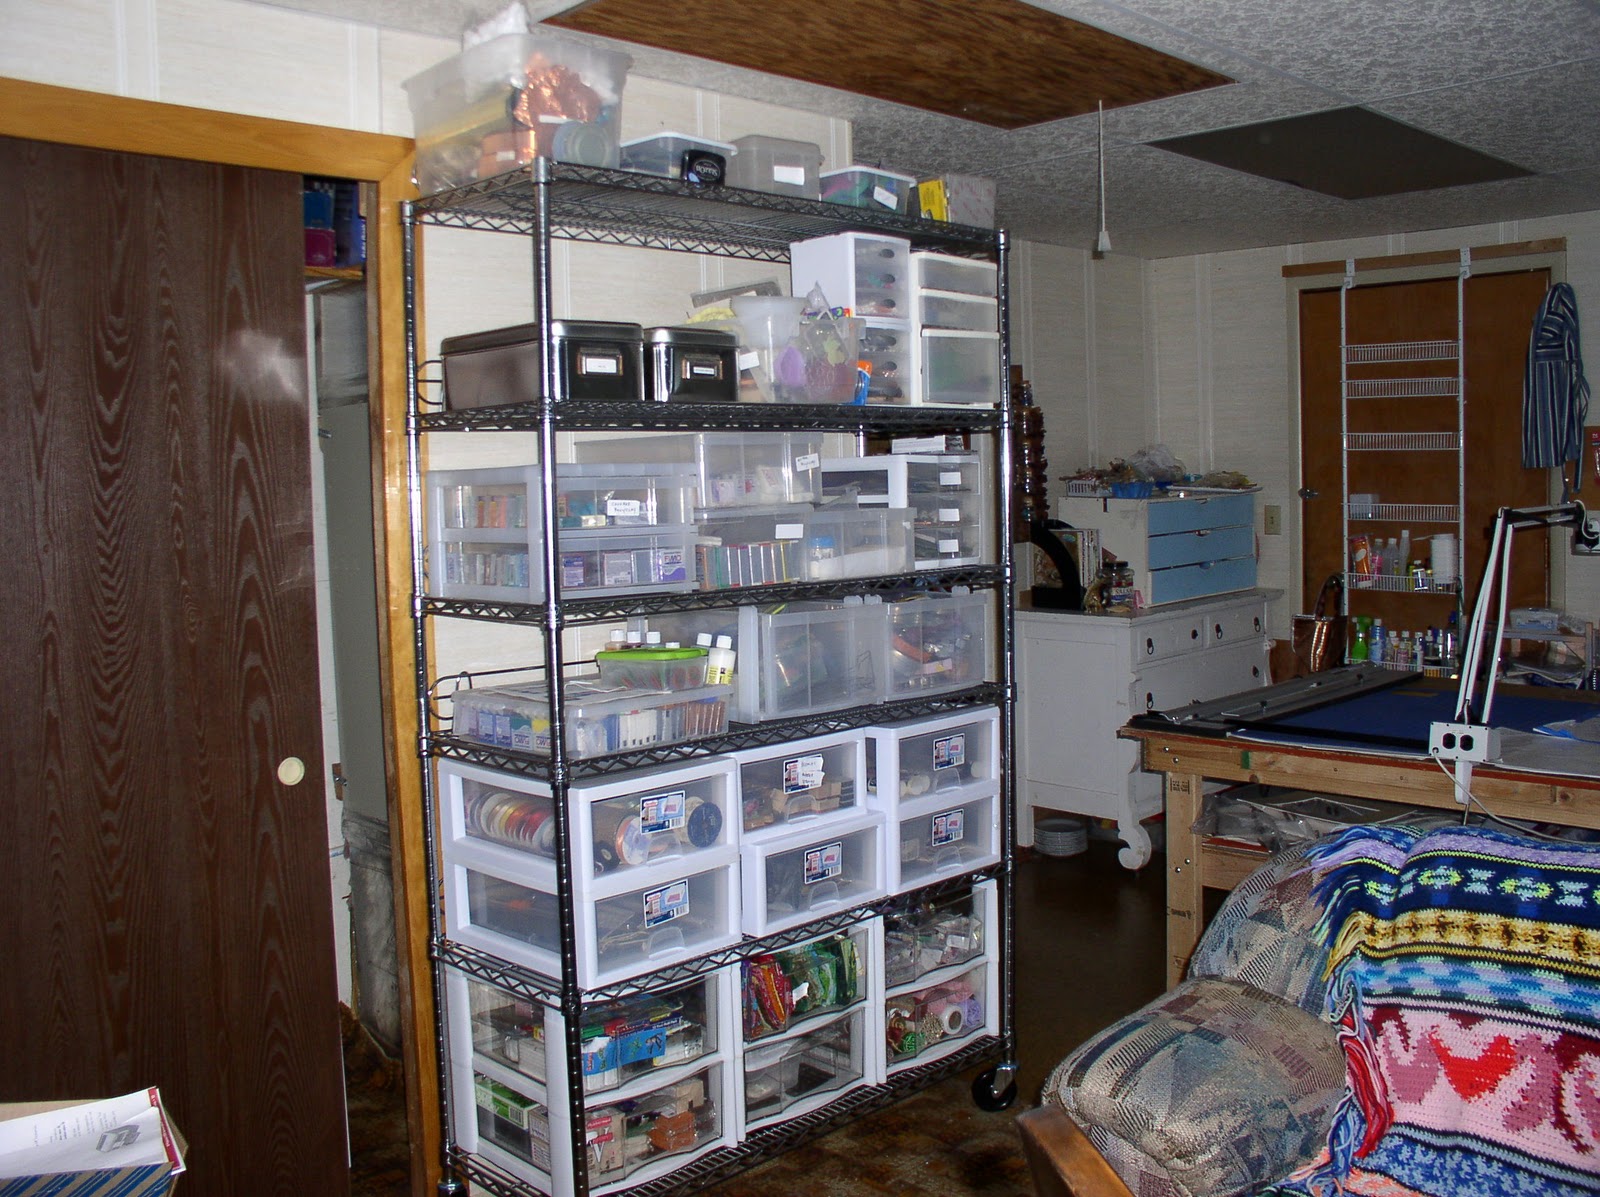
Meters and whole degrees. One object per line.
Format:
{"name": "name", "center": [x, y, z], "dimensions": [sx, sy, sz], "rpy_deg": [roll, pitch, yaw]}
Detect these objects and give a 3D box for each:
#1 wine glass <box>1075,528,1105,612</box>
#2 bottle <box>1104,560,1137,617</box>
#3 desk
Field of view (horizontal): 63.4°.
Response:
{"name": "wine glass", "center": [1.282, -0.134, 5.812], "dimensions": [0.134, 0.349, 0.241], "rpy_deg": [-2, 9, 13]}
{"name": "bottle", "center": [1.400, -0.054, 5.746], "dimensions": [0.148, 0.202, 0.226], "rpy_deg": [-2, 9, 13]}
{"name": "desk", "center": [1.731, 0.507, 3.935], "dimensions": [1.281, 0.757, 1.289], "rpy_deg": [-2, 2, -36]}
